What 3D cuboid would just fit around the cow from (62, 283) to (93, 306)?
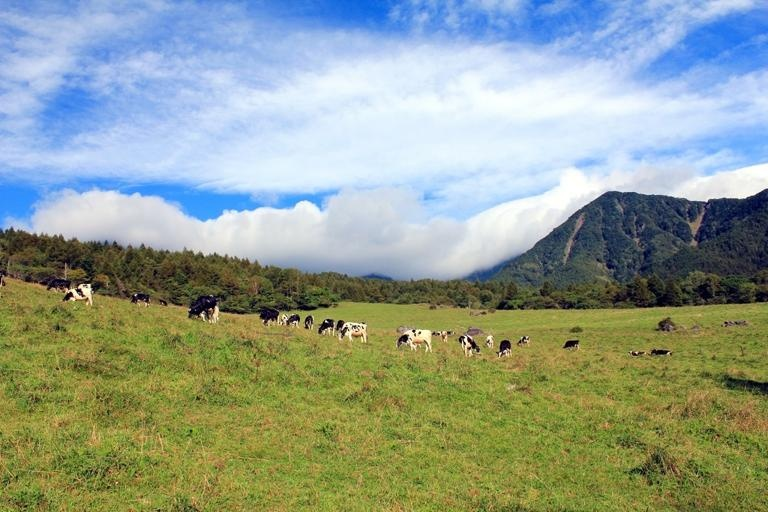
[{"bbox_3d":[-22.826,2.801,46.657,1.815,1.482,2.422,-1,-3,-24],"label":"cow"}]
